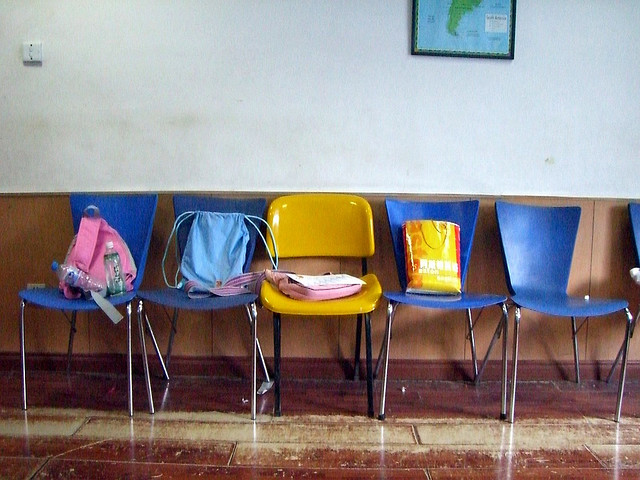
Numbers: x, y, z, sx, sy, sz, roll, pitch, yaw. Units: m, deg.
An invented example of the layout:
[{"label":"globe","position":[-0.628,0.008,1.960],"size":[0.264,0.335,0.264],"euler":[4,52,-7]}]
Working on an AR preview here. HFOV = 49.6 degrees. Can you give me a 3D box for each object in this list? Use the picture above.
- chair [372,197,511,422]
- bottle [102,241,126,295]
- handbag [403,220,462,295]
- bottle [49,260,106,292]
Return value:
[{"label":"chair","position":[0.600,0.313,3.434],"size":[0.685,1.010,0.654],"euler":[0,11,12]},{"label":"bottle","position":[-1.001,0.137,3.373],"size":[0.092,0.240,0.133],"euler":[-6,12,-18]},{"label":"handbag","position":[0.555,0.095,3.441],"size":[0.278,0.387,0.132],"euler":[2,-15,-3]},{"label":"bottle","position":[-1.143,0.188,3.309],"size":[0.218,0.129,0.069],"euler":[-1,11,10]}]
